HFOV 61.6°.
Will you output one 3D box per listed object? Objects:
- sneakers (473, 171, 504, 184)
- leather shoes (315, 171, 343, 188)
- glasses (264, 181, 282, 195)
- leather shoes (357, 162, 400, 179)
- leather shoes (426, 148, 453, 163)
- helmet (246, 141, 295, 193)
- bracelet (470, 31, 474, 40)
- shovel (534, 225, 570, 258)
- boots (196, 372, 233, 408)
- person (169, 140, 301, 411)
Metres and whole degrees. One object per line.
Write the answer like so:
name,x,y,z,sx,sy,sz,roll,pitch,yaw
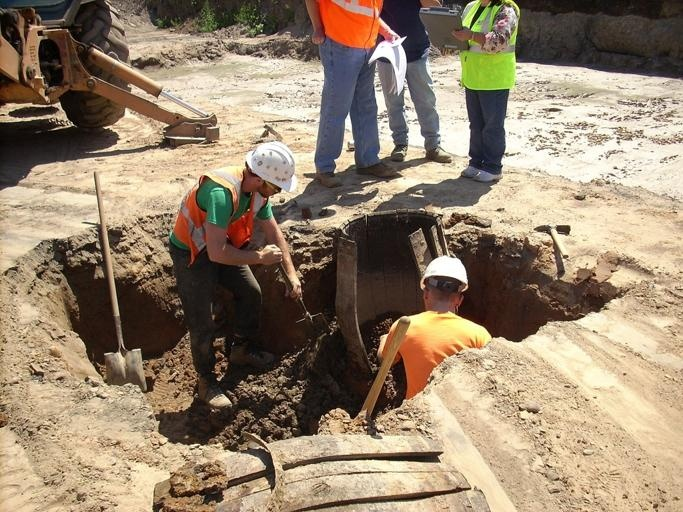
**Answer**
sneakers,1.468,-0.790,5.804,0.288,0.117,0.112,3,36,-10
leather shoes,-0.163,-0.802,5.907,0.314,0.135,0.126,14,30,39
glasses,-0.480,-0.466,3.959,0.086,0.045,0.068,38,20,18
leather shoes,0.391,-0.899,6.083,0.500,0.216,0.184,6,34,19
leather shoes,1.098,-1.132,6.396,0.278,0.129,0.143,11,35,29
helmet,-0.451,-0.641,3.909,0.360,0.195,0.283,37,46,-4
bracelet,1.174,-2.015,5.212,0.047,0.065,0.020,-19,31,-31
shovel,1.805,-0.102,4.800,0.203,0.070,0.302,-2,27,0
boots,-1.005,1.041,4.446,0.169,0.225,0.508,-2,2,-33
person,-0.771,0.164,4.298,0.910,2.014,0.666,-11,28,-17
